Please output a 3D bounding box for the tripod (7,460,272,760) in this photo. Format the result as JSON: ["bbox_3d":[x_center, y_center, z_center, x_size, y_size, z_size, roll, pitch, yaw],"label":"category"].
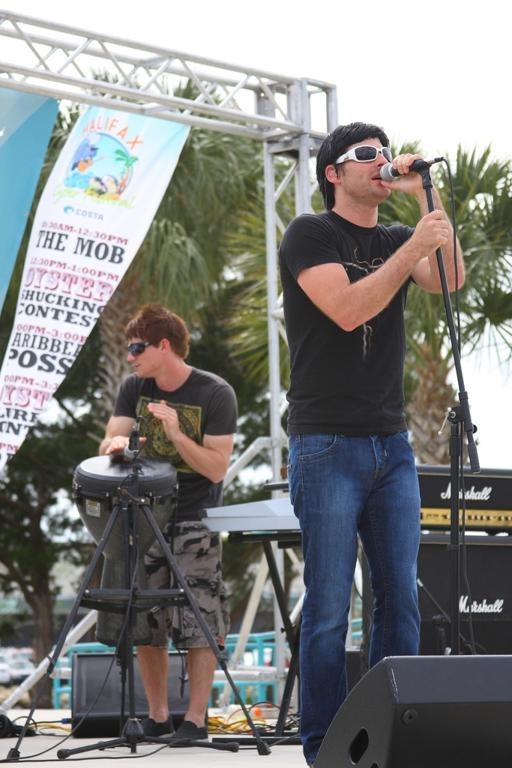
[{"bbox_3d":[-0.380,0.786,5.825,1.046,1.496,1.037,0,-1,-15],"label":"tripod"}]

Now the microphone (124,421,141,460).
[{"bbox_3d":[-0.472,0.216,5.550,0.055,0.151,0.062,15,-18,-7],"label":"microphone"}]

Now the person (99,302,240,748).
[{"bbox_3d":[-0.378,0.561,5.991,0.453,1.723,0.519,5,-6,-45],"label":"person"}]
